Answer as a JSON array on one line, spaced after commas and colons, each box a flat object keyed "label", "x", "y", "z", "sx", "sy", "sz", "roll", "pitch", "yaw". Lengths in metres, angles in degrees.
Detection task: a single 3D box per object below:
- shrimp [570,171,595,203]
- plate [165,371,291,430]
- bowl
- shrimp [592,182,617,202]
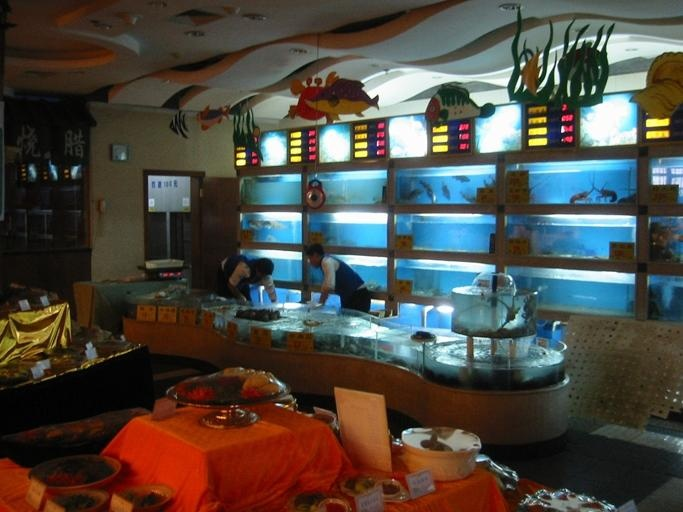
[{"label": "shrimp", "x": 2.597, "y": -0.728, "z": 5.760, "sx": 0.294, "sy": 0.279, "sz": 0.179, "roll": -2, "pitch": 9, "yaw": -24}, {"label": "plate", "x": -0.577, "y": 0.678, "z": 2.648, "sx": 0.535, "sy": 0.155, "sz": 0.463, "roll": 7, "pitch": 10, "yaw": 35}, {"label": "bowl", "x": 0.470, "y": 0.976, "z": 2.565, "sx": 0.380, "sy": 0.178, "sz": 0.329, "roll": 3, "pitch": 8, "yaw": 10}, {"label": "shrimp", "x": 2.819, "y": -0.686, "z": 5.663, "sx": 0.096, "sy": 0.156, "sz": 0.287, "roll": -2, "pitch": 9, "yaw": -19}]
